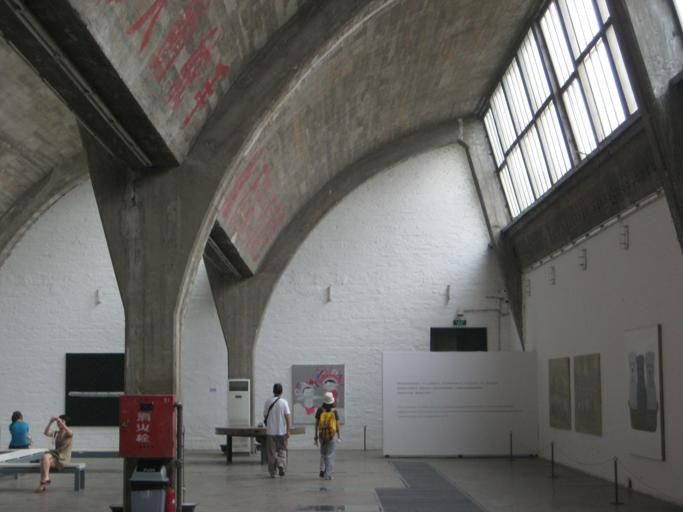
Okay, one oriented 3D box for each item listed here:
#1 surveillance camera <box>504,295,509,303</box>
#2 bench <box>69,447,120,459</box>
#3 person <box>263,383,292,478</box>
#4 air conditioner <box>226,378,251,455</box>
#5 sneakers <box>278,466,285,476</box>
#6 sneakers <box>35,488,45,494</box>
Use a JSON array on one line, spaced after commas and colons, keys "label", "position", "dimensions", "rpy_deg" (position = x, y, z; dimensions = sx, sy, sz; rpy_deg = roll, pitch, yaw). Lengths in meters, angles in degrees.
[{"label": "surveillance camera", "position": [6.296, 1.614, 25.241], "dimensions": [0.108, 0.265, 0.248], "rpy_deg": [8, -18, -31]}, {"label": "bench", "position": [-7.343, 5.902, 20.001], "dimensions": [0.855, 0.235, 0.883], "rpy_deg": [0, -5, -1]}, {"label": "person", "position": [-1.678, 4.661, 17.281], "dimensions": [0.615, 2.044, 0.866], "rpy_deg": [1, -14, -6]}, {"label": "air conditioner", "position": [-3.397, 5.215, 22.058], "dimensions": [0.794, 2.634, 0.862], "rpy_deg": [1, 11, -4]}, {"label": "sneakers", "position": [-1.564, 5.615, 17.455], "dimensions": [0.115, 0.329, 0.117], "rpy_deg": [0, 20, -3]}, {"label": "sneakers", "position": [-7.114, 5.524, 15.755], "dimensions": [0.218, 0.158, 0.495], "rpy_deg": [6, -18, -23]}]
